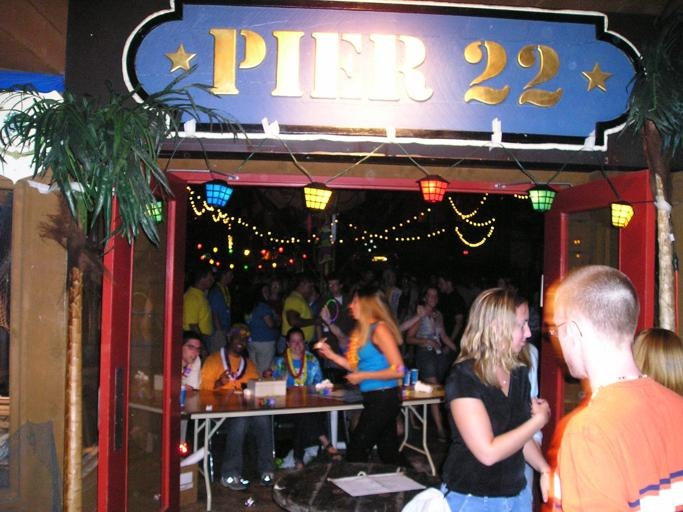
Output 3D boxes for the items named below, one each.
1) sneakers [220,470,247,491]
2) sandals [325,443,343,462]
[{"bbox_3d":[-1.084,2.254,7.466,0.235,0.139,0.130,2,5,15],"label":"sneakers"},{"bbox_3d":[-0.087,2.123,8.038,0.142,0.185,0.426,3,-16,-22],"label":"sandals"}]
